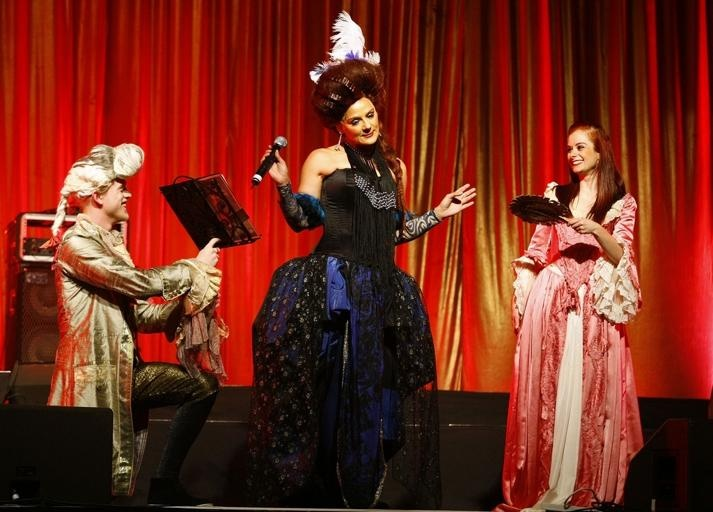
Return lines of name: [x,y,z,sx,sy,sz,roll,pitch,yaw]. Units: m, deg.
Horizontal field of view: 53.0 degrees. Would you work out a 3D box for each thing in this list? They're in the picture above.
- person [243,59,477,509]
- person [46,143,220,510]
person: [-0.034,0.119,3.327,0.881,2.065,0.391,2,-13,-14]
person: [-1.013,0.302,3.314,0.782,1.649,0.472,6,-15,-29]
